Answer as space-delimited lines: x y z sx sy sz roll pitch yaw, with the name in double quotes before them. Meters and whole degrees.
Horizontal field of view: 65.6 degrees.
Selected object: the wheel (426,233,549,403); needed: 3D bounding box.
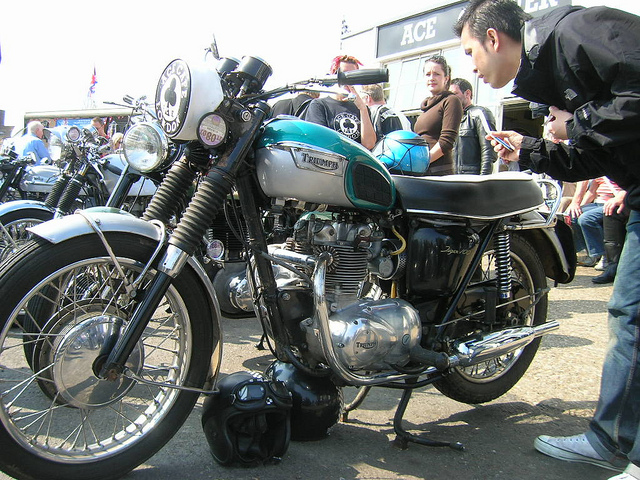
"wheel" 1.031 0.480 3.101 1.213 1.107 0.317 0 0 -41
